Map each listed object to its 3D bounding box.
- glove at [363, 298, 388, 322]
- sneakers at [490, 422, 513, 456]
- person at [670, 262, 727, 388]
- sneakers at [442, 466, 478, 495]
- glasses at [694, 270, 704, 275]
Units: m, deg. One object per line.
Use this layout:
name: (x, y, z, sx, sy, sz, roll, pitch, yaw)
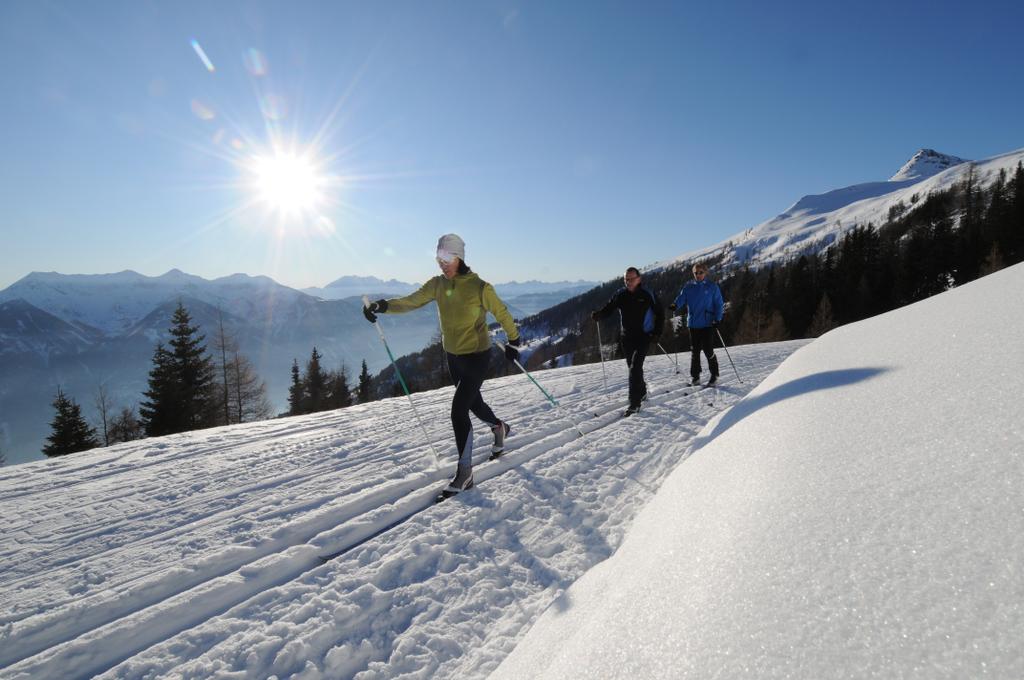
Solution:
glove: (-1.746, -0.397, 7.551, 0.258, 0.156, 0.348, 0, 18, 45)
sneakers: (-0.162, 1.227, 7.367, 0.148, 0.455, 0.154, 0, -5, 36)
person: (3.451, -0.287, 10.847, 0.776, 2.264, 0.571, 3, 14, 18)
sneakers: (-0.536, 1.505, 6.404, 0.176, 0.201, 0.492, 10, 19, 39)
glasses: (3.348, -1.194, 10.592, 0.175, 0.117, 0.075, -7, 15, -20)
